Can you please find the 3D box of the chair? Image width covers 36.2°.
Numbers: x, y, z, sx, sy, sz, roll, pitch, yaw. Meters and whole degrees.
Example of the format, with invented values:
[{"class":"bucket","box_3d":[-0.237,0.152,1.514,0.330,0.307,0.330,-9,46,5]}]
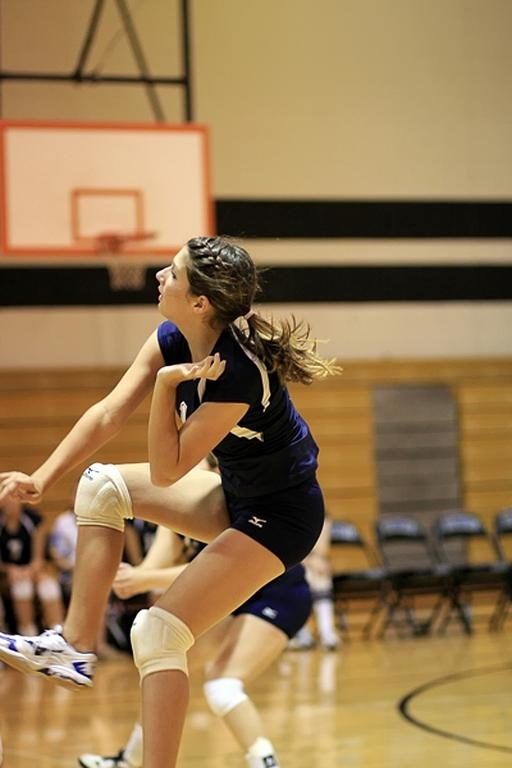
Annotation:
[{"class":"chair","box_3d":[1.201,1.374,5.548,0.827,0.418,0.306,-19,-5,12]}]
